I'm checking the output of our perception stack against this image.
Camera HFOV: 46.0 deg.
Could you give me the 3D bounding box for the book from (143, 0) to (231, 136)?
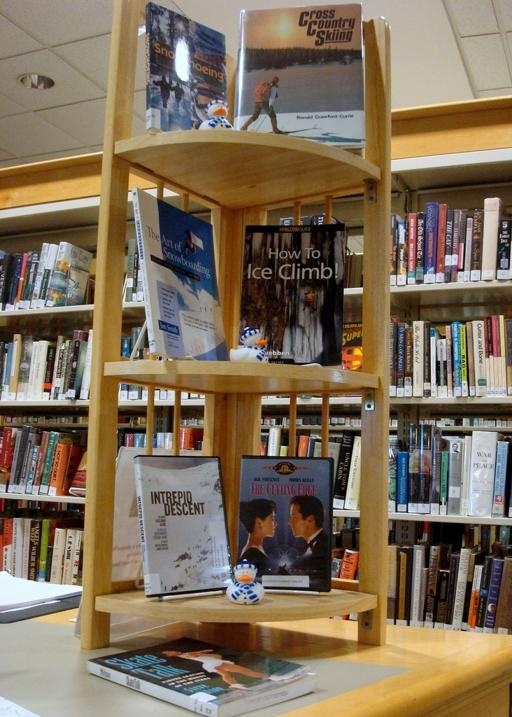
[{"bbox_3d":[-0.119,-0.479,1.024,0.056,0.287,0.212,-5,-13,24],"label":"book"}]
